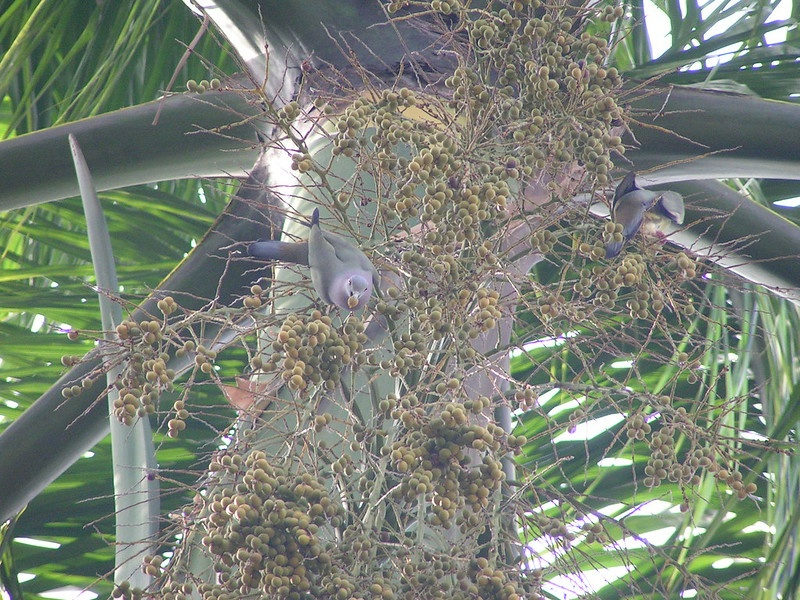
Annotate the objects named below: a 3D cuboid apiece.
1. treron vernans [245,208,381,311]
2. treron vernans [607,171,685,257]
[{"bbox_3d":[-0.288,-0.134,4.997,0.132,0.392,0.170,-45,-6,-29],"label":"treron vernans"},{"bbox_3d":[0.786,-0.325,4.983,0.371,0.183,0.233,-6,15,15],"label":"treron vernans"}]
